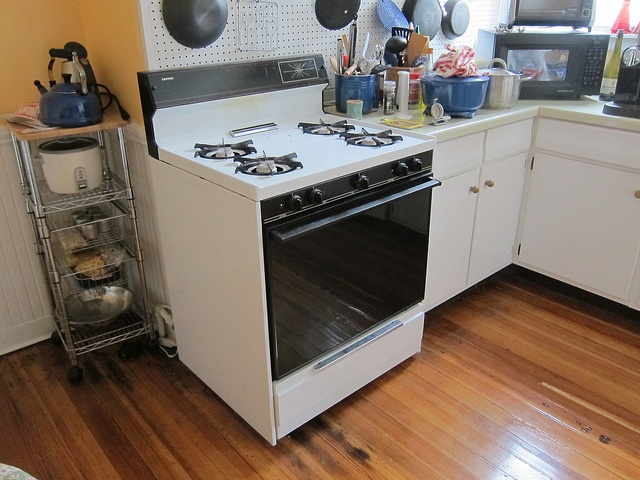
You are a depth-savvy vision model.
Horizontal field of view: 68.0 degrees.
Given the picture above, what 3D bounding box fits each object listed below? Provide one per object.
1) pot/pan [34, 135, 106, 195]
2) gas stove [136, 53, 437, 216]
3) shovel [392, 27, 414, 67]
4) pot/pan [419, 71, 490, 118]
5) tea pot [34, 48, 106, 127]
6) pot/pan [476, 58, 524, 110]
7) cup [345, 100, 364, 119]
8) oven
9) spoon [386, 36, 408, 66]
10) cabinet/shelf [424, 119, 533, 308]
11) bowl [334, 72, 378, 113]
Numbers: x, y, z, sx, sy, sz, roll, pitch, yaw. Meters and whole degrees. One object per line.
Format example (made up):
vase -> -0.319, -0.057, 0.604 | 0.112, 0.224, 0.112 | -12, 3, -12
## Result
pot/pan -> -1.138, -0.367, 2.180 | 0.299, 0.214, 0.268 | -15, 34, -33
gas stove -> -0.217, -0.448, 1.964 | 1.110, 0.427, 0.839 | -25, 43, -35
shovel -> 0.456, -1.096, 2.615 | 0.089, 0.261, 0.040 | 4, -8, 20
pot/pan -> 0.686, -0.716, 2.450 | 0.246, 0.205, 0.320 | 27, 41, 37
tea pot -> -1.115, -0.661, 2.068 | 0.330, 0.299, 0.247 | 12, 26, 21
pot/pan -> 0.957, -0.835, 2.561 | 0.299, 0.224, 0.196 | -2, 24, 0
cup -> 0.172, -0.642, 2.336 | 0.092, 0.092, 0.086 | 2, 33, -2
oven -> 0.102, 0.074, 1.899 | 0.798, 0.741, 0.575 | -24, 36, -34
spoon -> 0.415, -1.018, 2.556 | 0.079, 0.228, 0.079 | 33, 75, 23
cabinet/shelf -> 0.831, -0.165, 2.511 | 0.825, 0.752, 0.420 | -23, 33, -35
bowl -> 0.217, -0.789, 2.497 | 0.271, 0.205, 0.249 | -4, 25, 2
